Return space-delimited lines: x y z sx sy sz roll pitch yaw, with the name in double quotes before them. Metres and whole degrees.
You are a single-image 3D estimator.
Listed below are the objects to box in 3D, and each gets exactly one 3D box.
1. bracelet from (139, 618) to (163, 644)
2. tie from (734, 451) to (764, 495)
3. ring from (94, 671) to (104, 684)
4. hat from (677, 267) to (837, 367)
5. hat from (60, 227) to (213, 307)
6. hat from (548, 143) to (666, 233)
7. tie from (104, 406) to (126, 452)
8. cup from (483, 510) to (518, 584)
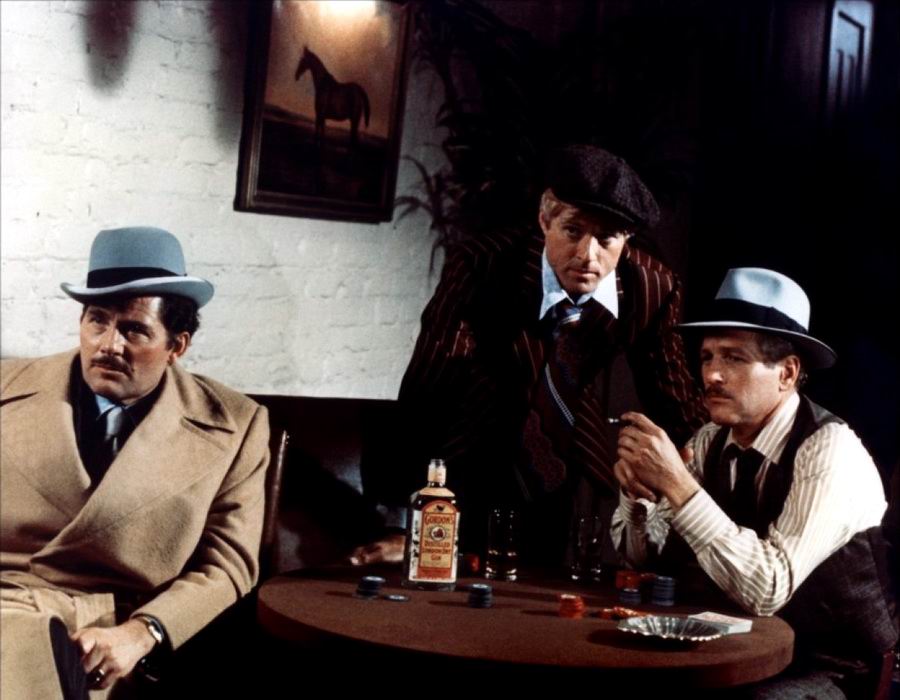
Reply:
"bracelet" -0.759 0.718 2.243 0.066 0.022 0.049 48 -9 7
"tie" 0.839 0.348 2.461 0.069 0.116 0.028 0 -15 42
"ring" -0.869 0.811 2.164 0.007 0.023 0.024 4 23 39
"hat" 0.919 -0.123 2.555 0.434 0.188 0.397 14 2 -6
"hat" -0.840 -0.232 2.359 0.356 0.188 0.433 2 2 22
"hat" 0.479 -0.536 2.833 0.297 0.128 0.320 18 22 -44
"tie" -0.863 0.198 2.248 0.066 0.096 0.025 -2 -1 20
"cup" 0.138 0.529 2.319 0.086 0.154 0.090 4 -12 1
